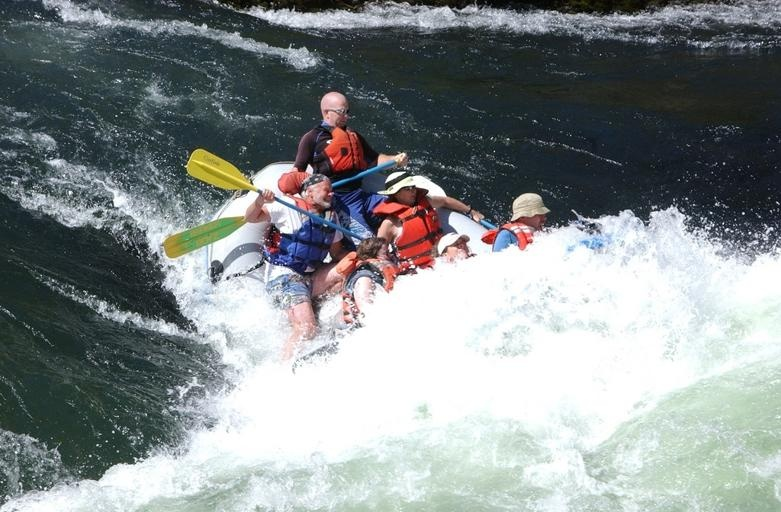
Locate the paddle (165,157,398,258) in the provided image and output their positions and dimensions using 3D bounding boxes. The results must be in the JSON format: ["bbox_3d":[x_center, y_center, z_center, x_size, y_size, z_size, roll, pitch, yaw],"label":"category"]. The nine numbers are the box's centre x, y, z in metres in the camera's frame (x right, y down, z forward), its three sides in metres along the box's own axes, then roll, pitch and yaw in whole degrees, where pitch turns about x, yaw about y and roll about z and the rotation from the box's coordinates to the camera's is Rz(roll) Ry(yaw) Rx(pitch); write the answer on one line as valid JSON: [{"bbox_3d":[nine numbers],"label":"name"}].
[{"bbox_3d":[-1.592,-0.720,10.592,2.343,1.112,0.388,-15,-2,-6],"label":"paddle"}]

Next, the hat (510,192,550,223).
[{"bbox_3d":[1.630,-0.588,10.622,0.377,0.179,0.348,-8,9,34],"label":"hat"}]

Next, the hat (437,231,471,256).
[{"bbox_3d":[0.707,-0.125,10.495,0.361,0.154,0.295,-7,37,13],"label":"hat"}]
